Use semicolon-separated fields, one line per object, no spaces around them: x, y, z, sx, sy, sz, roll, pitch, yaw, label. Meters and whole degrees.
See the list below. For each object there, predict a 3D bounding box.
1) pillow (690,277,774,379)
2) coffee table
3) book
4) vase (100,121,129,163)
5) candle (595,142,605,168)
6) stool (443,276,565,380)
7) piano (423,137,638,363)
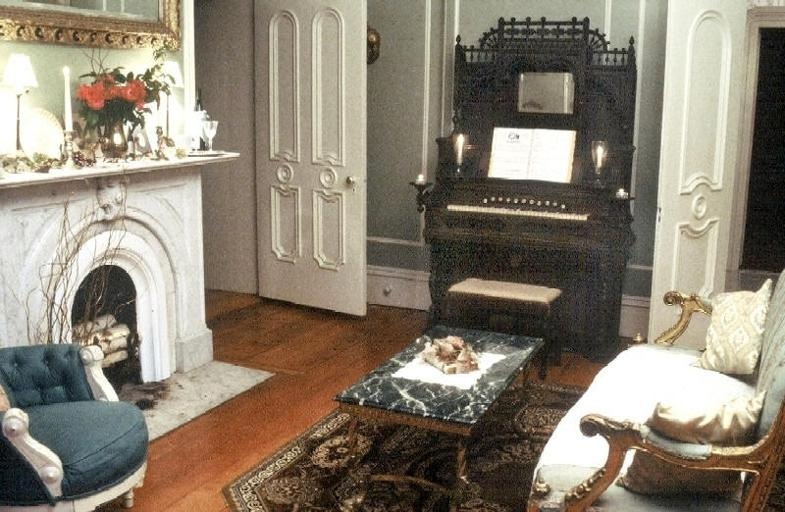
1.991;0.382;3.619;0.153;0.531;0.488;22;-18;-21;pillow
0.327;0.953;3.994;0.807;0.790;1.278;9;15;30;coffee table
1.245;-0.892;5.567;0.778;0.540;0.151;5;17;7;book
-2.008;-0.842;4.470;0.232;0.301;0.229;-7;9;-45;vase
1.806;-0.881;5.380;0.068;0.213;0.127;11;16;37;candle
0.997;0.403;5.515;1.286;0.910;0.708;3;5;29;stool
1.180;-0.093;5.633;1.801;1.778;0.622;7;21;24;piano
